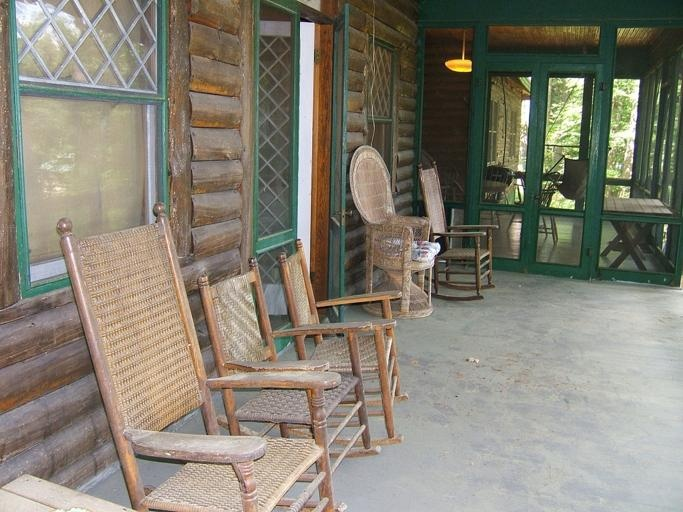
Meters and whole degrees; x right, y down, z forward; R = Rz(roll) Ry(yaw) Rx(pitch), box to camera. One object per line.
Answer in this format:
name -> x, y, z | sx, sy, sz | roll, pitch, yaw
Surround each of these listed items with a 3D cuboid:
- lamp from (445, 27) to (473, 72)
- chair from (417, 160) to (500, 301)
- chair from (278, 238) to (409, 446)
lamp -> 1.990, -3.417, 7.830 | 0.497, 0.775, 0.501 | 8, 11, 16
chair -> 1.489, -0.315, 6.360 | 0.942, 1.778, 0.916 | 1, 9, 23
chair -> 0.044, 0.572, 3.078 | 0.894, 1.139, 0.871 | -2, 9, -11
